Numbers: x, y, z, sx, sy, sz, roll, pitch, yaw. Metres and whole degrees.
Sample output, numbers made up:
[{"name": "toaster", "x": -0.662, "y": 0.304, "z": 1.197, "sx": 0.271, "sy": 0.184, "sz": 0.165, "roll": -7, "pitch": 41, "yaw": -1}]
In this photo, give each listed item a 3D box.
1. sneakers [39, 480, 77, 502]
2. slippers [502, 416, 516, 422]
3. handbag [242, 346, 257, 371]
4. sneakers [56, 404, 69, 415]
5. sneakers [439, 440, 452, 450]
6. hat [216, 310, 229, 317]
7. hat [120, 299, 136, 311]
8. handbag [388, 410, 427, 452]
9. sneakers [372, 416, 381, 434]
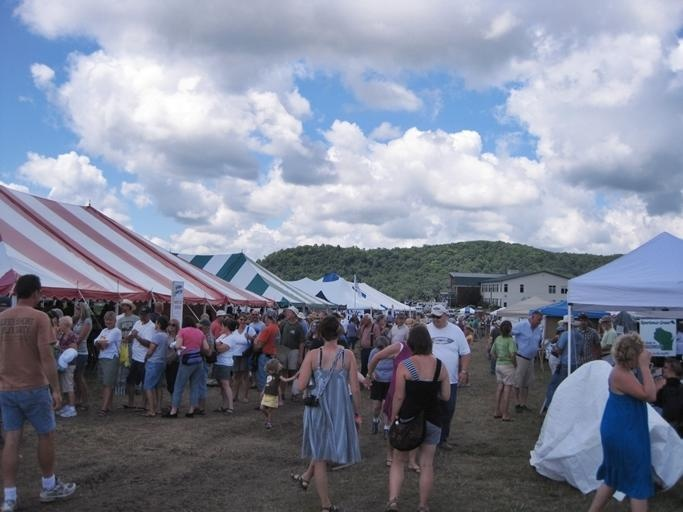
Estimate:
[{"name": "sneakers", "x": -3.338, "y": 2.821, "z": 7.710, "sx": 0.448, "sy": 0.272, "sz": 0.170, "roll": -5, "pitch": 9, "yaw": -20}, {"name": "slippers", "x": 3.048, "y": 3.065, "z": 11.960, "sx": 0.245, "sy": 0.109, "sz": 0.088, "roll": -5, "pitch": 3, "yaw": 2}, {"name": "handbag", "x": -1.882, "y": 2.122, "z": 13.128, "sx": 0.195, "sy": 0.510, "sz": 0.372, "roll": -1, "pitch": -2, "yaw": 9}, {"name": "sneakers", "x": -4.796, "y": 2.714, "z": 11.100, "sx": 0.236, "sy": 0.111, "sz": 0.093, "roll": 7, "pitch": -12, "yaw": 7}, {"name": "sneakers", "x": 1.586, "y": 3.004, "z": 10.041, "sx": 0.211, "sy": 0.101, "sz": 0.089, "roll": 0, "pitch": 1, "yaw": -4}, {"name": "hat", "x": -2.881, "y": 1.397, "z": 15.421, "sx": 0.430, "sy": 0.159, "sz": 0.462, "roll": 0, "pitch": -10, "yaw": -2}, {"name": "hat", "x": -4.497, "y": 1.039, "z": 13.531, "sx": 0.279, "sy": 0.281, "sz": 0.334, "roll": 17, "pitch": -16, "yaw": -14}, {"name": "handbag", "x": 0.716, "y": 2.077, "z": 7.431, "sx": 0.507, "sy": 0.540, "sz": 0.200, "roll": -13, "pitch": -25, "yaw": 39}, {"name": "sneakers", "x": 0.524, "y": 2.885, "z": 10.917, "sx": 0.097, "sy": 0.321, "sz": 0.116, "roll": 0, "pitch": -2, "yaw": 33}]
